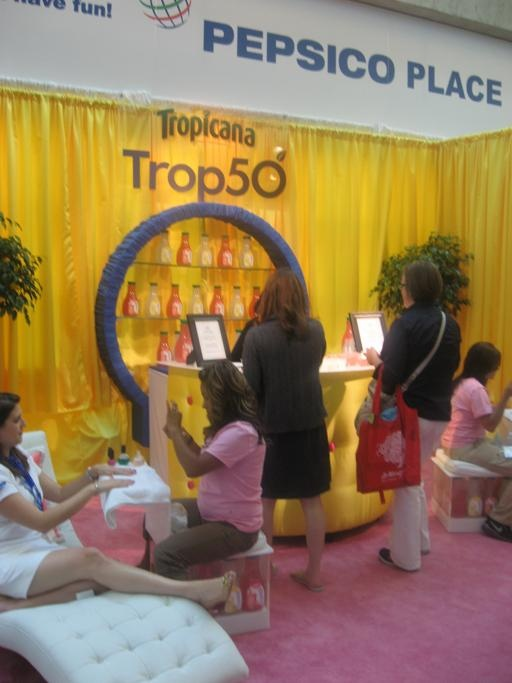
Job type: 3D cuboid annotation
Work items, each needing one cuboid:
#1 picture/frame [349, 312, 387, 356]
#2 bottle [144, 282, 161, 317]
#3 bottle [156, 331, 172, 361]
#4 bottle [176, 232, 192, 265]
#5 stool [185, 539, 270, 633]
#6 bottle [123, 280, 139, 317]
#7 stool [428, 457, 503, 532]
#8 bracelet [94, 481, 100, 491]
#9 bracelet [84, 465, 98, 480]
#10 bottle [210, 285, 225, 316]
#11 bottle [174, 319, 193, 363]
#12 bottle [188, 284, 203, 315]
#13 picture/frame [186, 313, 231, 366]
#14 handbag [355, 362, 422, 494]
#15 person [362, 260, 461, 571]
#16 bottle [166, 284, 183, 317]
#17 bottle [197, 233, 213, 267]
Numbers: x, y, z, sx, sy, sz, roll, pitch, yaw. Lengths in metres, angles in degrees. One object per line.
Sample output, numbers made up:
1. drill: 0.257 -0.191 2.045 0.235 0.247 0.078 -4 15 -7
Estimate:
1. picture/frame: 0.627 -0.043 3.274 0.189 0.308 0.030 -1 -40 -2
2. bottle: -0.711 -0.293 4.214 0.121 0.237 0.076 -2 3 -43
3. bottle: -0.606 0.024 4.004 0.094 0.184 0.262 0 2 -9
4. bottle: -0.515 -0.673 4.369 0.093 0.233 0.132 1 2 12
5. stool: -0.106 0.909 2.191 0.216 0.328 0.270 14 -32 -43
6. bottle: -0.859 -0.295 4.148 0.119 0.239 0.104 -1 2 -31
7. stool: 1.113 0.779 3.230 0.256 0.388 0.307 -1 3 -17
8. bracelet: -0.510 0.462 1.931 0.008 0.014 0.036 6 2 -9
9. bracelet: -0.595 0.471 2.181 0.037 0.055 0.047 -1 -2 7
10. bottle: -0.282 -0.310 4.454 0.107 0.222 0.298 0 2 -3
11. bottle: -0.437 0.009 3.658 0.114 0.295 0.142 4 -12 -5
12. bottle: -0.425 -0.314 4.320 0.100 0.207 0.418 0 2 -5
13. picture/frame: -0.239 0.011 3.040 0.197 0.303 0.140 0 -24 -32
14. handbag: 0.560 0.355 2.552 0.271 0.670 0.109 -4 31 11
15. person: 0.682 0.334 2.707 0.308 1.434 0.376 6 10 42
16. bottle: -0.600 -0.293 4.321 0.104 0.247 0.188 -1 3 -34
17. bottle: -0.370 -0.674 4.419 0.113 0.238 0.073 -1 2 -22
